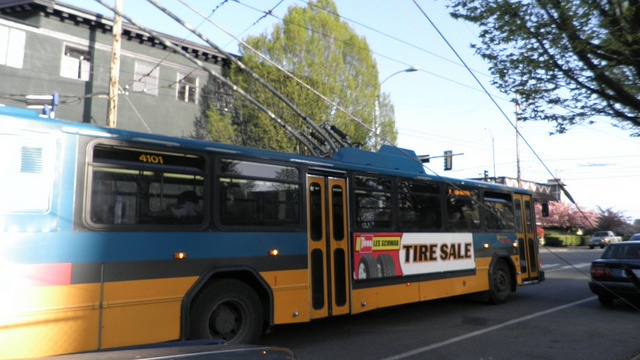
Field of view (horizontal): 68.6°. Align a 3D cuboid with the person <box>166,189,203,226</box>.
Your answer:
[{"bbox_3d":[-3.117,0.663,10.930,0.741,0.666,0.750,6,5,37],"label":"person"}]
